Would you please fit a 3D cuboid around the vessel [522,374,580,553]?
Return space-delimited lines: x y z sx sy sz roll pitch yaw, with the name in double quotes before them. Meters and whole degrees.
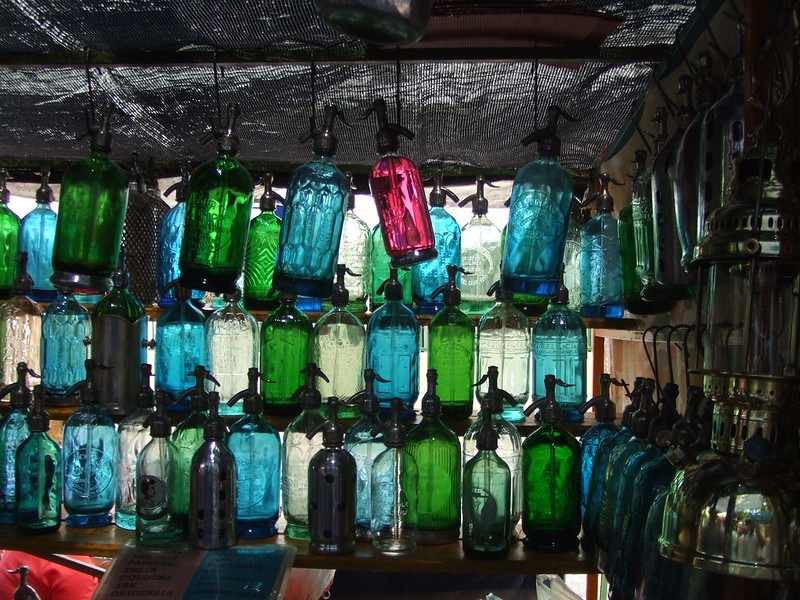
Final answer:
"vessel" 0.343 0.369 1.957 0.124 0.376 0.127 -1 -6 12

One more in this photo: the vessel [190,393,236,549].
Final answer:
"vessel" -0.405 0.373 1.885 0.102 0.336 0.141 2 -4 -13

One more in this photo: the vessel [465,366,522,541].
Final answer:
"vessel" 0.218 0.371 2.036 0.159 0.431 0.165 1 24 14

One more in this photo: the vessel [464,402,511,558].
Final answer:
"vessel" 0.199 0.388 1.884 0.123 0.344 0.139 1 -4 -6

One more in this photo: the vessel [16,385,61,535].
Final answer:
"vessel" -0.828 0.421 1.999 0.120 0.229 0.083 5 -6 -41

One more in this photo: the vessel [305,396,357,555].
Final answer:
"vessel" -0.140 0.384 1.877 0.124 0.336 0.106 2 -4 -20

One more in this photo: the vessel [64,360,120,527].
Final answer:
"vessel" -0.718 0.336 2.008 0.124 0.390 0.149 3 -5 -21

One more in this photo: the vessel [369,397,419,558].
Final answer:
"vessel" -0.012 0.386 1.897 0.105 0.334 0.124 1 -4 1
